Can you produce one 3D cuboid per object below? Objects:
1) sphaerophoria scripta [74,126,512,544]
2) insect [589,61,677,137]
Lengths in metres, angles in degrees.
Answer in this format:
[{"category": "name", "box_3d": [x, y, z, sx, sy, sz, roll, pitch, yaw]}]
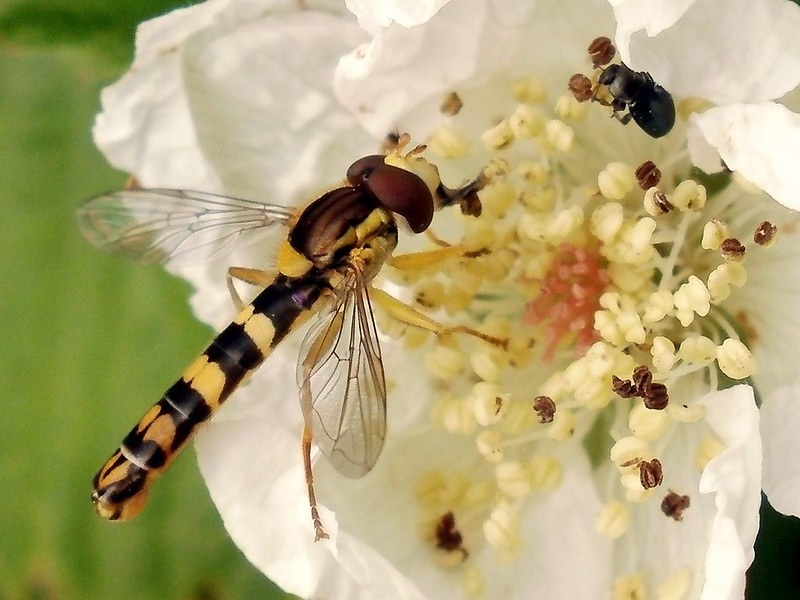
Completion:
[{"category": "sphaerophoria scripta", "box_3d": [-0.219, 0.082, 2.075, 0.903, 0.298, 0.790, -8, 83, -2]}, {"category": "insect", "box_3d": [0.481, -0.399, 2.014, 0.182, 0.163, 0.066, 33, 83, 3]}]
